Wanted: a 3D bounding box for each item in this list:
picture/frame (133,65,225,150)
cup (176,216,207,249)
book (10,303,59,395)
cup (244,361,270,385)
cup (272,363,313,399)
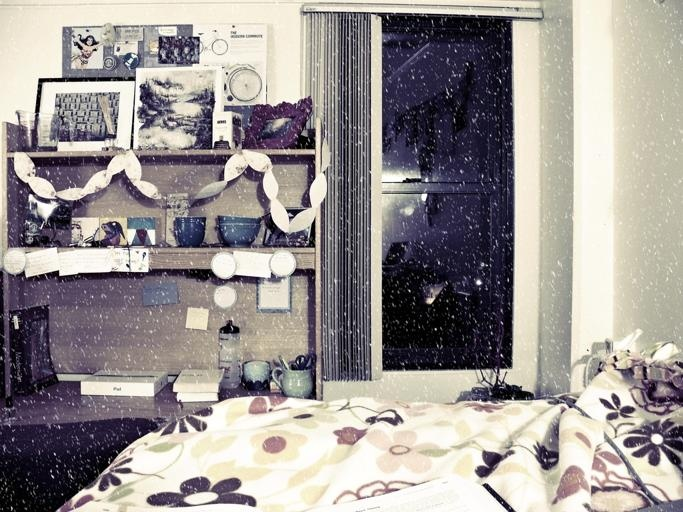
[{"bbox_3d":[-0.825,-0.738,3.999,0.336,0.421,0.041,-1,-4,1],"label":"picture/frame"},{"bbox_3d":[-0.740,-0.121,3.882,0.127,0.133,0.137,0,-2,0],"label":"cup"},{"bbox_3d":[-1.521,0.468,3.885,0.093,0.360,0.317,-3,14,5],"label":"book"},{"bbox_3d":[-0.422,0.569,3.876,0.096,0.088,0.097,2,-6,0],"label":"cup"},{"bbox_3d":[-0.243,0.599,3.772,0.151,0.134,0.134,-2,-7,12],"label":"cup"}]
